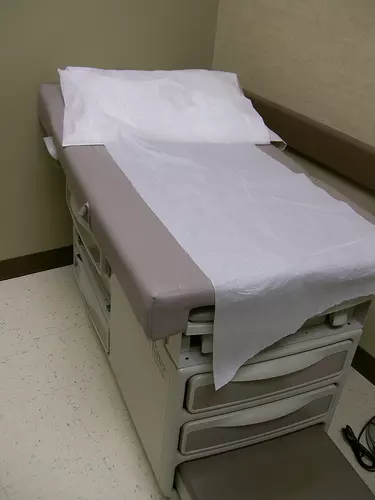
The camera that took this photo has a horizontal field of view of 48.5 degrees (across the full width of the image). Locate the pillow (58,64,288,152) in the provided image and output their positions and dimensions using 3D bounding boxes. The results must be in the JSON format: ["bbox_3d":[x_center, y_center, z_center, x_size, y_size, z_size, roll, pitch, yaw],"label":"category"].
[{"bbox_3d":[-0.076,-0.501,1.477,0.620,0.099,0.439,-3,55,-16],"label":"pillow"}]
